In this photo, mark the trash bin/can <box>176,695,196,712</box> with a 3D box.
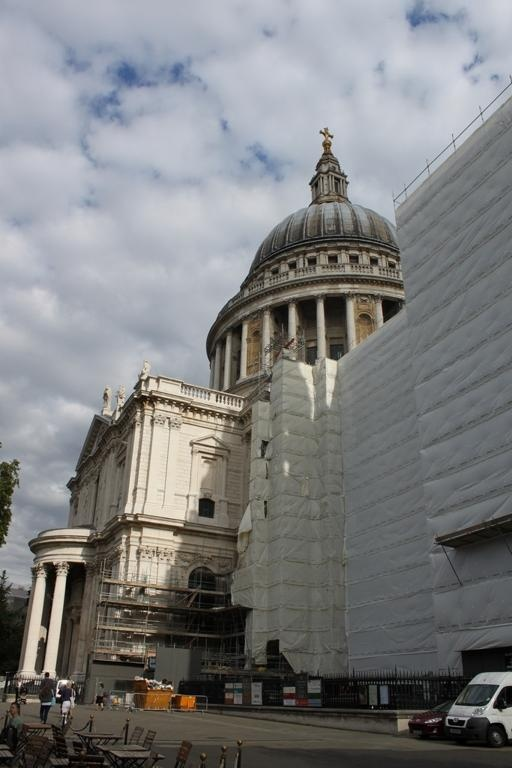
[{"bbox_3d":[-2.850,12.819,25.927,0.791,0.540,0.944,8,-25,-8],"label":"trash bin/can"}]
